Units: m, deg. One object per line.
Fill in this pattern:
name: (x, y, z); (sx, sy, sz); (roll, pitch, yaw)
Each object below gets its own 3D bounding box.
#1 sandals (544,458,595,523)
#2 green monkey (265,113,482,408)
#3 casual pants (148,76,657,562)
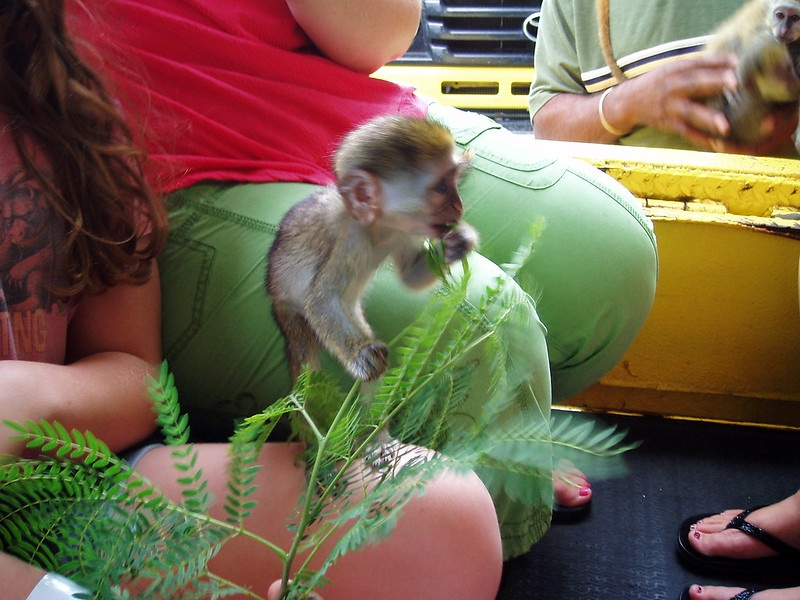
sandals: (0.294, 0.314, 1.150); (0.062, 0.173, 0.071); (-27, 77, -14)
green monkey: (-0.026, -0.058, 0.534); (0.124, 0.160, 0.145); (-26, 44, -31)
casual pants: (-0.031, 0.041, 0.958); (0.609, 0.259, 0.467); (28, 30, 17)
